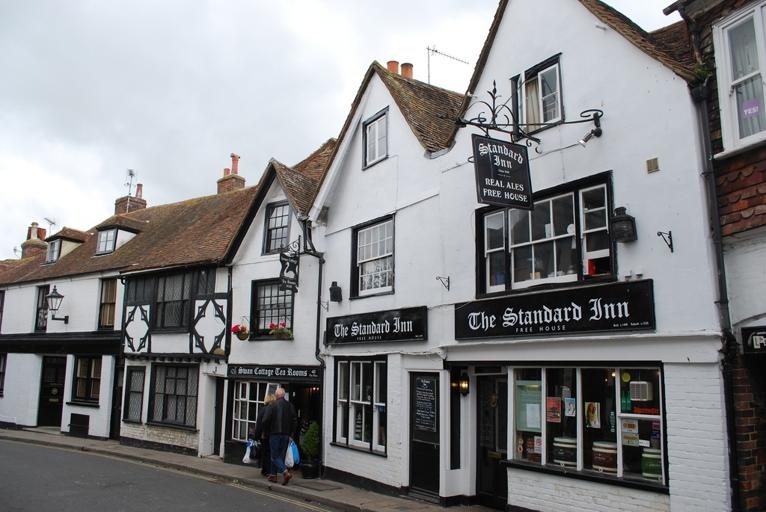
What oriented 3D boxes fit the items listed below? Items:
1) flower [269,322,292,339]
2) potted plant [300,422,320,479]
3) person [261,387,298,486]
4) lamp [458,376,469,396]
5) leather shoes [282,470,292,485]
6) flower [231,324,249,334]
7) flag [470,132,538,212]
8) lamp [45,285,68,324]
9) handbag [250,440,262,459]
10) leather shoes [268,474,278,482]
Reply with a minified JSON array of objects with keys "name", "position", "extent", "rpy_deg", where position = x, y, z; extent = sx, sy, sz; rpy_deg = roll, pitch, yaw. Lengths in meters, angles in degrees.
[{"name":"flower","position":[-2.973,2.228,19.407],"extent":[0.519,0.382,0.535],"rpy_deg":[1,-7,-1]},{"name":"potted plant","position":[-1.952,5.299,17.857],"extent":[0.551,1.459,0.337],"rpy_deg":[2,-13,-9]},{"name":"person","position":[-2.656,4.641,16.864],"extent":[0.771,2.361,1.054],"rpy_deg":[2,-13,-7]},{"name":"lamp","position":[1.866,2.985,14.974],"extent":[0.275,0.439,0.089],"rpy_deg":[-10,-16,35]},{"name":"leather shoes","position":[-2.371,5.604,16.412],"extent":[0.161,0.226,0.491],"rpy_deg":[-2,-40,-24]},{"name":"flower","position":[-4.326,2.223,19.885],"extent":[0.403,0.194,0.301],"rpy_deg":[7,-13,-43]},{"name":"flag","position":[2.381,-1.690,13.022],"extent":[1.397,1.362,0.260],"rpy_deg":[7,-15,-28]},{"name":"lamp","position":[-13.410,2.038,27.069],"extent":[0.992,1.519,0.609],"rpy_deg":[7,1,0]},{"name":"handbag","position":[-3.327,5.082,17.146],"extent":[0.259,0.510,0.468],"rpy_deg":[-1,-8,-1]},{"name":"leather shoes","position":[-2.818,5.730,16.787],"extent":[0.111,0.184,0.254],"rpy_deg":[9,-7,-39]}]
